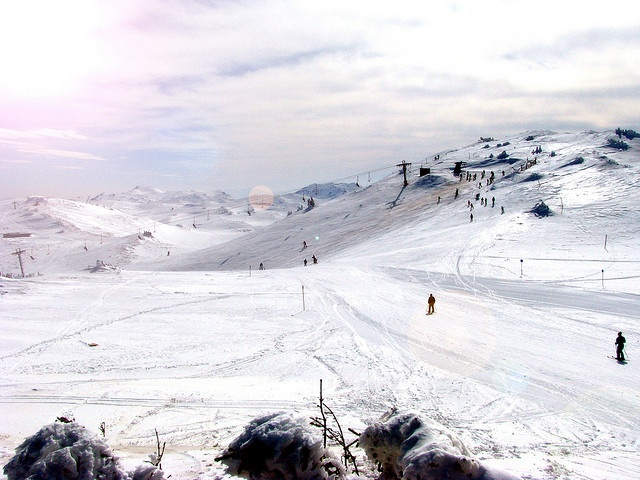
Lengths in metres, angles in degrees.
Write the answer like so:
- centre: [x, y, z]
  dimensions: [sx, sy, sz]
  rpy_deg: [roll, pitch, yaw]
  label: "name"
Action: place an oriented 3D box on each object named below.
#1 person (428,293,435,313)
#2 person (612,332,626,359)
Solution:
- centre: [7.396, 4.177, 33.730]
  dimensions: [0.471, 1.215, 1.020]
  rpy_deg: [-5, 12, 10]
  label: "person"
- centre: [15.737, 5.467, 26.419]
  dimensions: [0.428, 1.511, 1.069]
  rpy_deg: [0, 14, 28]
  label: "person"
